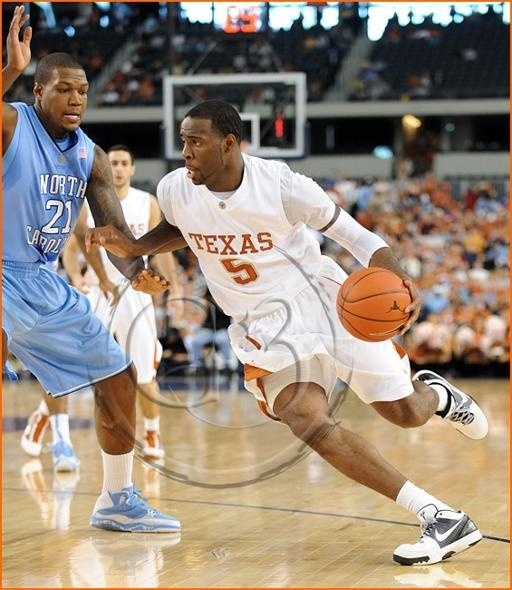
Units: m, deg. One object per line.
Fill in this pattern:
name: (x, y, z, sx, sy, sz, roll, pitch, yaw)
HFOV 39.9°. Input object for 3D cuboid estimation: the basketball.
basketball: (0.325, 0.027, 2.041, 0.244, 0.214, 0.151, -2, -5, 26)

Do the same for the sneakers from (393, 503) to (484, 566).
sneakers: (0.544, 0.708, 2.103, 0.345, 0.143, 0.105, -7, -22, -29)
